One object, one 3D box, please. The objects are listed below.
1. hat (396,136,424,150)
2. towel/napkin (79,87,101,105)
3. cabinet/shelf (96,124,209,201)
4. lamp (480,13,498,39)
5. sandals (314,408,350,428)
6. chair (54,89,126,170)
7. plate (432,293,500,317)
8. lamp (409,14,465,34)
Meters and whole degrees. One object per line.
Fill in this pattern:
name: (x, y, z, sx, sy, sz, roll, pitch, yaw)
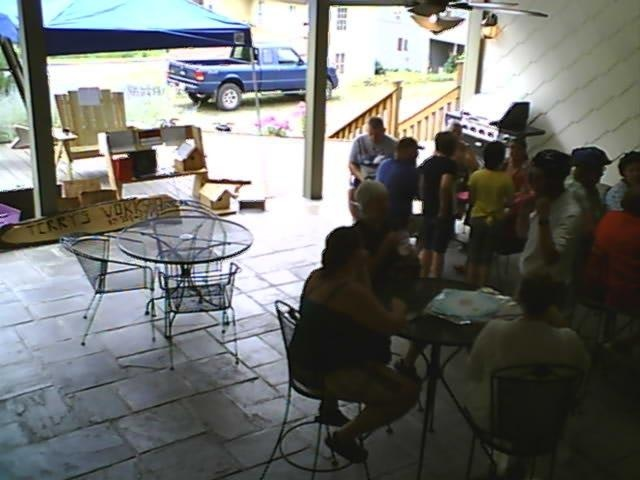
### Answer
hat: (0.968, -1.005, 5.263, 0.335, 0.109, 0.235, 2, 4, 0)
towel/napkin: (-4.216, -2.648, 9.295, 0.340, 0.333, 0.207, 3, 25, -23)
cabinet/shelf: (-2.649, -1.419, 8.138, 1.819, 1.375, 1.294, -10, 32, -20)
lamp: (2.865, -3.628, 8.558, 0.284, 0.407, 0.327, 9, 21, 26)
sandals: (0.074, 1.166, 3.352, 0.046, 0.150, 0.221, 14, -15, 44)
chair: (-4.123, -2.001, 9.348, 1.328, 1.202, 1.391, -4, 33, -19)
plate: (0.990, 0.430, 3.463, 0.483, 0.051, 0.376, 3, 18, 13)
lamp: (0.963, -1.764, 4.119, 0.291, 0.094, 0.250, 8, 12, 31)
